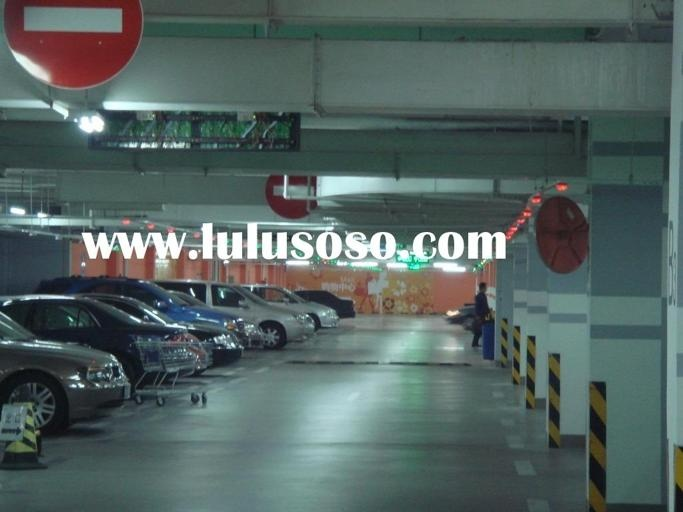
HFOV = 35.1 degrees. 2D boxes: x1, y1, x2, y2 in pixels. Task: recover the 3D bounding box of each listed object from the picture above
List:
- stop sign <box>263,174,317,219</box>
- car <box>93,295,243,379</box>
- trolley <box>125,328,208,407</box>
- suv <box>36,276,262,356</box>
[{"bbox_3d":[-1.117,-1.251,22.256,0.859,1.007,0.218,-3,4,-3],"label":"stop sign"},{"bbox_3d":[-3.377,1.586,22.320,3.211,1.577,1.527,0,-1,3],"label":"car"},{"bbox_3d":[-2.897,1.987,19.174,1.358,1.571,0.935,-2,-2,20],"label":"trolley"},{"bbox_3d":[-4.914,1.057,25.213,4.795,1.878,2.403,1,-2,-1],"label":"suv"}]
